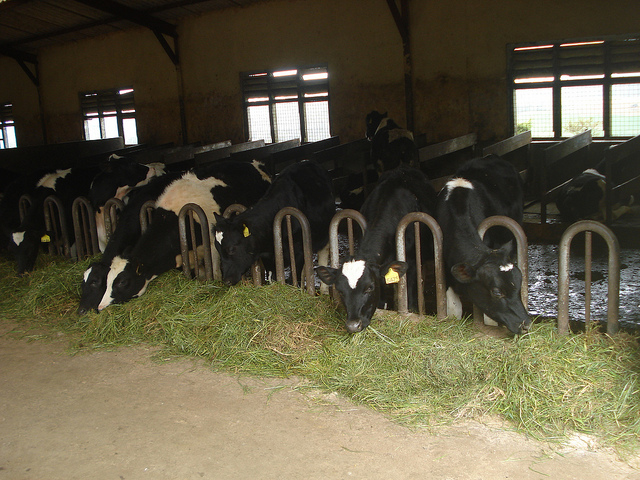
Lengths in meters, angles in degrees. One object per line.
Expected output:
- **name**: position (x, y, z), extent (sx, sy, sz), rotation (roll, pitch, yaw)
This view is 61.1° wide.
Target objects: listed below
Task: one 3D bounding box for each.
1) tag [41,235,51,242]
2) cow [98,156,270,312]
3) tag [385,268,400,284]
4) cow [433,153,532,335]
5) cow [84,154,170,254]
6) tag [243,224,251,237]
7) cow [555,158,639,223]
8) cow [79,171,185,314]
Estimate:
- **tag**: position (-2.779, -0.024, 5.502), extent (0.068, 0.078, 0.010), rotation (0, -5, -4)
- **cow**: position (-1.383, -0.032, 5.090), extent (0.619, 1.189, 2.234), rotation (6, -2, -16)
- **tag**: position (0.476, 0.238, 3.607), extent (0.091, 0.090, 0.094), rotation (-4, 1, 24)
- **cow**: position (1.214, -0.062, 4.171), extent (0.650, 1.144, 1.857), rotation (0, 7, 15)
- **cow**: position (-2.230, -0.583, 6.530), extent (0.533, 0.877, 1.666), rotation (-6, -4, -14)
- **tag**: position (-0.567, -0.074, 4.286), extent (0.051, 0.073, 0.023), rotation (-10, 3, -28)
- **cow**: position (3.510, -0.624, 6.921), extent (0.845, 0.735, 0.669), rotation (-6, 8, -33)
- **cow**: position (-1.631, -0.013, 4.834), extent (0.484, 1.073, 1.172), rotation (0, 7, 8)
